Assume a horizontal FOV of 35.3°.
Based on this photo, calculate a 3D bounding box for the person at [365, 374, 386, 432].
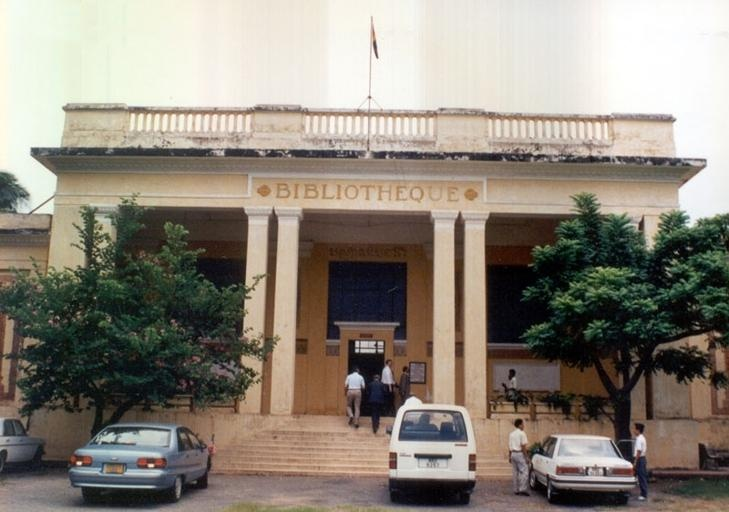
[{"bbox_3d":[0.366,5.101,39.218,0.513,1.951,1.248,0,-8,1],"label":"person"}]

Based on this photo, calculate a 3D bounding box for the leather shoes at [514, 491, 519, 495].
[{"bbox_3d":[4.525,7.084,34.240,0.139,0.141,0.074,0,-21,4],"label":"leather shoes"}]

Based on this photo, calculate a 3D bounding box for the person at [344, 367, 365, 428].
[{"bbox_3d":[-0.369,4.916,39.790,0.619,2.113,1.205,1,-8,-1],"label":"person"}]

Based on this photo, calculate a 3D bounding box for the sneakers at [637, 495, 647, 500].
[{"bbox_3d":[8.074,7.073,33.533,0.226,0.132,0.297,-2,-9,16],"label":"sneakers"}]
